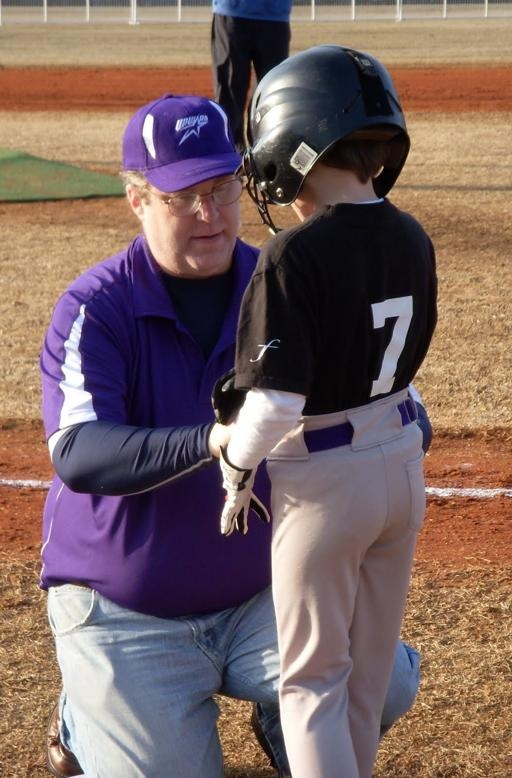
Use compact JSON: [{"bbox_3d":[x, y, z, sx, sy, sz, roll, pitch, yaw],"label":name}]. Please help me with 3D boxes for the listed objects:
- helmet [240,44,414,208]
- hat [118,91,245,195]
[{"bbox_3d":[0.137,-0.623,2.632,0.351,0.314,0.424,-11,4,-21],"label":"helmet"},{"bbox_3d":[-0.176,-0.653,2.809,0.294,0.171,0.352,-14,36,-12],"label":"hat"}]
